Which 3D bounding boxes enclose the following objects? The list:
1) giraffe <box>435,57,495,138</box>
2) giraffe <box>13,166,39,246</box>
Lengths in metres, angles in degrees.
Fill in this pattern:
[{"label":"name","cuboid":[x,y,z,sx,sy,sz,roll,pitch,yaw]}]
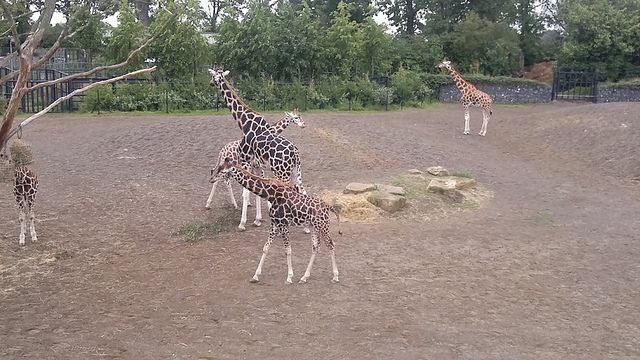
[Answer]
[{"label":"giraffe","cuboid":[10.025,-5.888,40.491,2.800,3.978,14.867,4,14,16]},{"label":"giraffe","cuboid":[-10.407,0.822,21.779,0.829,2.764,1.213,-7,16,-24]}]
